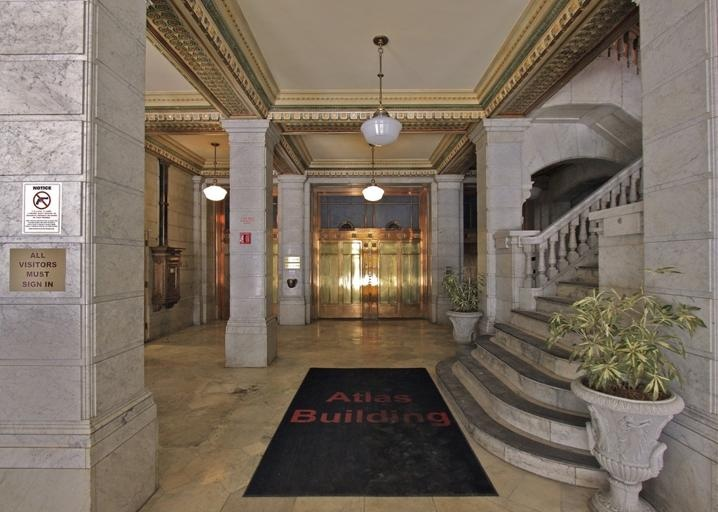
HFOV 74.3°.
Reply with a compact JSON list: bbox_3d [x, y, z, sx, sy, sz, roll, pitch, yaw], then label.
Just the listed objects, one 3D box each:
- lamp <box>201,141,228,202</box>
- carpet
[{"bbox_3d":[-3.072,-1.726,10.082,0.465,1.251,2.081,-4,12,-16],"label":"lamp"},{"bbox_3d":[0.148,1.837,5.200,2.152,0.106,2.235,0,11,1],"label":"carpet"}]
